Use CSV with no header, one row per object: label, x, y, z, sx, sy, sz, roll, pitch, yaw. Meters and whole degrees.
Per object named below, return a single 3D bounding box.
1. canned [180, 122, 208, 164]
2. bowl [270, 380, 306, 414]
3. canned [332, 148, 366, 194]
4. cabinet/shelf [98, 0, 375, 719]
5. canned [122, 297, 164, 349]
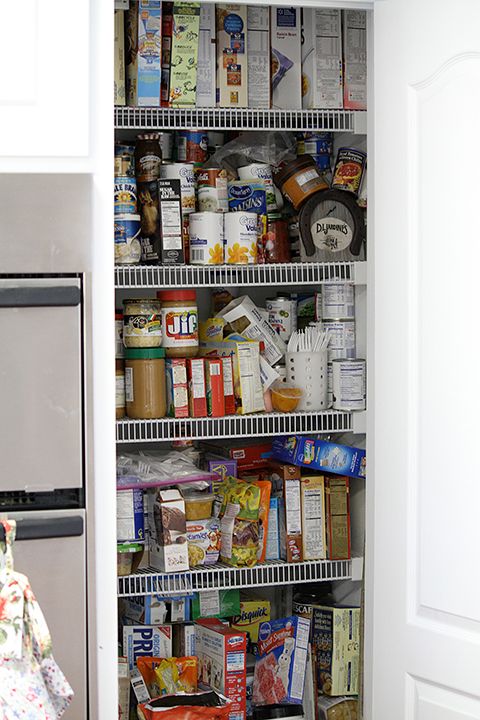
canned,-0.124,-0.571,1.783,0.094,0.113,0.099,4,13,11
bowl,0.120,0.097,1.744,0.067,0.052,0.078,15,3,-9
canned,0.291,-0.494,1.795,0.083,0.121,0.117,12,16,16
cabinet/shelf,0.011,-0.066,1.732,0.698,1.707,0.532,-2,2,-13
canned,-0.220,-0.091,1.591,0.101,0.122,0.105,0,4,-2
